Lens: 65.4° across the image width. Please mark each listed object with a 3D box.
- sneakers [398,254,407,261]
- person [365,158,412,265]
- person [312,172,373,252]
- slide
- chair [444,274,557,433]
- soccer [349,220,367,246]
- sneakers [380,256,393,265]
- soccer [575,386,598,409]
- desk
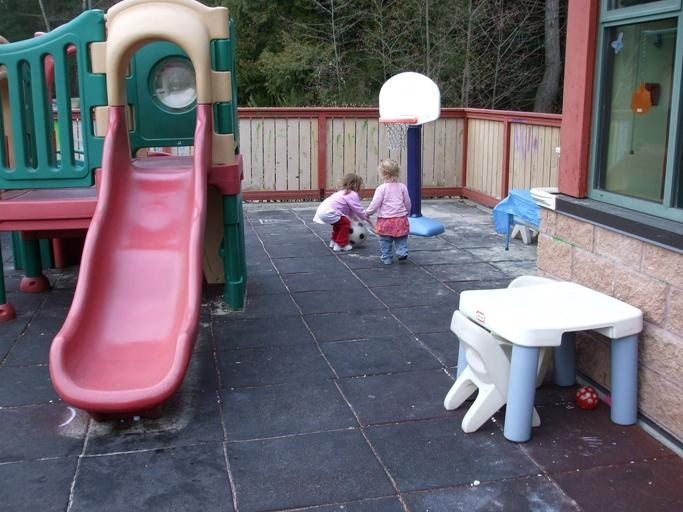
[{"bbox_3d":[0.706,-0.001,6.098,0.117,0.096,0.178,1,16,5],"label":"sneakers"},{"bbox_3d":[0.561,-0.516,6.073,0.471,1.106,0.483,-2,16,-3],"label":"person"},{"bbox_3d":[0.027,-0.627,6.840,0.864,1.201,0.700,-11,20,-31],"label":"person"},{"bbox_3d":[-1.376,0.023,3.833,0.757,1.420,2.461,2,36,-4],"label":"slide"},{"bbox_3d":[0.963,0.611,3.287,0.651,0.885,0.592,1,3,-12],"label":"chair"},{"bbox_3d":[0.227,-0.296,6.644,0.237,0.296,0.249,6,43,13],"label":"soccer"},{"bbox_3d":[0.519,0.022,6.060,0.146,0.084,0.178,0,16,4],"label":"sneakers"},{"bbox_3d":[1.461,0.839,3.156,0.117,0.139,0.119,-5,8,-4],"label":"soccer"},{"bbox_3d":[1.230,0.554,3.170,0.937,0.645,1.012,8,18,34],"label":"desk"}]
